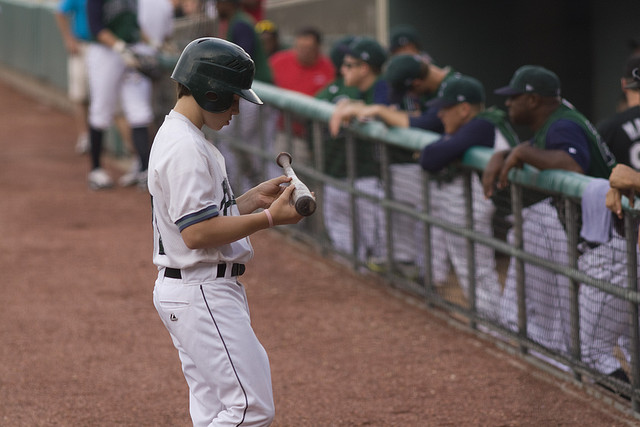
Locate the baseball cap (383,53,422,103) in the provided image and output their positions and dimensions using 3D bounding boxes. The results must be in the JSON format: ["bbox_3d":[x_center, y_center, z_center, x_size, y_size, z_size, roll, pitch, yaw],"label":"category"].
[{"bbox_3d":[0.490,-0.822,5.620,0.150,0.321,0.309,-15,23,-33],"label":"baseball cap"}]

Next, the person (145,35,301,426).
[{"bbox_3d":[-0.456,0.093,4.305,0.611,1.752,0.685,-16,24,-35],"label":"person"}]

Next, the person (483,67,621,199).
[{"bbox_3d":[1.232,-0.404,4.901,0.650,0.711,0.302,9,22,28],"label":"person"}]

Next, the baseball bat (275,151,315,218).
[{"bbox_3d":[-0.136,-0.098,4.165,0.117,0.563,0.097,-12,64,7],"label":"baseball bat"}]

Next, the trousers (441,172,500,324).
[{"bbox_3d":[0.876,0.179,5.280,0.099,0.836,0.458,-14,23,-30],"label":"trousers"}]

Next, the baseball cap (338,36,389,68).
[{"bbox_3d":[0.304,-1.093,6.182,0.264,0.095,0.175,22,7,0],"label":"baseball cap"}]

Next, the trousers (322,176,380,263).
[{"bbox_3d":[0.223,0.034,6.094,0.037,0.378,0.578,-5,15,-23],"label":"trousers"}]

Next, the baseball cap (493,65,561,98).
[{"bbox_3d":[1.134,-0.720,5.018,0.386,0.190,0.224,-4,13,13],"label":"baseball cap"}]

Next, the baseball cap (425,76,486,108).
[{"bbox_3d":[0.792,-0.731,5.325,0.423,0.187,0.244,-1,21,-12],"label":"baseball cap"}]

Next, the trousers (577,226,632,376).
[{"bbox_3d":[1.503,0.456,4.790,0.126,0.794,0.374,-20,27,-41],"label":"trousers"}]

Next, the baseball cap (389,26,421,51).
[{"bbox_3d":[0.527,-1.136,5.912,0.249,0.151,0.204,7,20,24],"label":"baseball cap"}]
